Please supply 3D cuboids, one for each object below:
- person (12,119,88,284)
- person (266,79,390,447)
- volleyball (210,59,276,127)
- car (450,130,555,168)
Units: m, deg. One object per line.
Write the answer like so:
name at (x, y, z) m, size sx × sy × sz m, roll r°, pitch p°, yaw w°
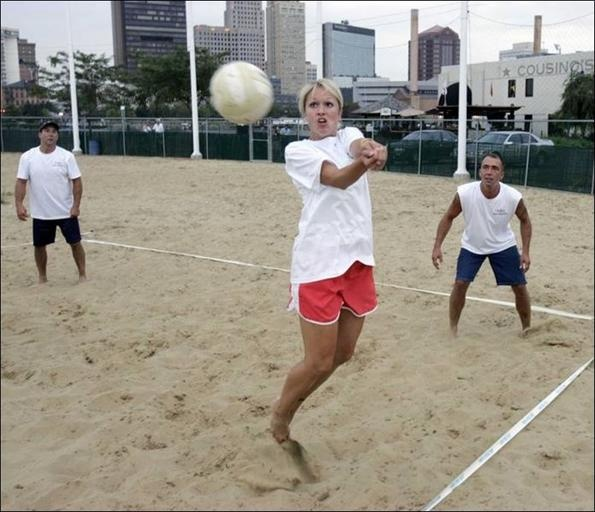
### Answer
person at (-2.899, -0.613, 7.559) m, size 0.727 × 1.858 × 0.471 m, roll -4°, pitch 13°, yaw -16°
person at (0.231, 0.106, 3.799) m, size 0.503 × 2.231 × 1.077 m, roll 0°, pitch 1°, yaw -26°
volleyball at (-0.357, -1.051, 4.221) m, size 0.396 × 0.458 × 0.413 m, roll 13°, pitch 19°, yaw 42°
car at (5.182, -2.618, 15.761) m, size 1.868 × 0.804 × 1.018 m, roll -8°, pitch 11°, yaw -36°
